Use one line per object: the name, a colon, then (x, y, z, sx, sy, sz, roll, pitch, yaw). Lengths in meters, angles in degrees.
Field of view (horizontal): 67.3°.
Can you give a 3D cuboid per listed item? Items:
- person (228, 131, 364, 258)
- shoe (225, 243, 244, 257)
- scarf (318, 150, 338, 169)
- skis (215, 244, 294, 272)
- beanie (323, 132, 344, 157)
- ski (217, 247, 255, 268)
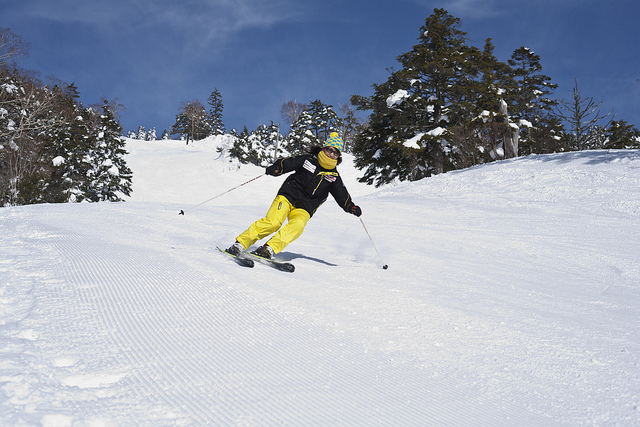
person: (-0.483, -0.273, 7.876, 1.560, 2.259, 0.475, 45, -10, -15)
shoe: (-1.236, 0.523, 6.915, 0.228, 0.143, 0.105, 3, -3, -26)
scarf: (0.118, -0.833, 7.402, 0.303, 0.288, 0.157, 2, 11, -2)
skis: (-0.958, 0.653, 6.869, 1.174, 0.131, 0.199, 9, 39, 33)
beanie: (0.243, -1.098, 7.457, 0.237, 0.271, 0.314, 30, 1, -20)
ski: (-1.194, 0.599, 6.855, 0.111, 0.104, 0.752, 14, 8, -42)
